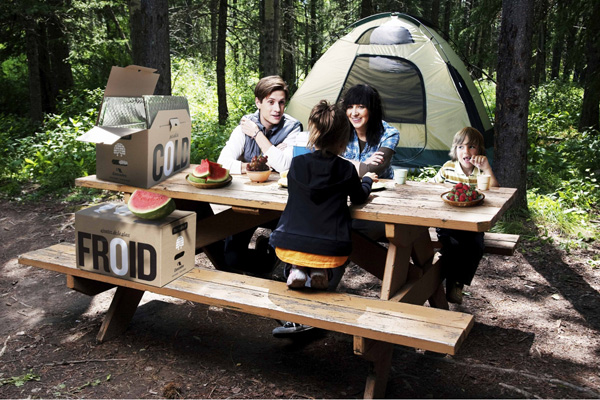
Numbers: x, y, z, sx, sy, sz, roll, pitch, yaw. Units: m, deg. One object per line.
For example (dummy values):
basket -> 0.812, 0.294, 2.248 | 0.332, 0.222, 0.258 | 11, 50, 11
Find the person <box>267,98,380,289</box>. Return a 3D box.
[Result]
person -> 0.170, -0.014, 3.580 | 0.655, 1.518, 0.654 | 2, 4, 16

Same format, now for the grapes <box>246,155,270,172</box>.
grapes -> -0.404, -0.348, 4.132 | 0.148, 0.109, 0.193 | -9, -1, -7

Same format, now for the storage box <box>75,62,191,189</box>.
storage box -> -1.407, -0.752, 4.262 | 1.297, 1.073, 1.375 | 5, 9, 18

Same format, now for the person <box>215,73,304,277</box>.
person -> -0.427, -0.210, 4.706 | 0.984, 2.135, 1.005 | 4, -2, -5

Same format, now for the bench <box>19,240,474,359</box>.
bench -> 0.049, 0.835, 3.365 | 2.416, 0.209, 0.381 | 7, 16, 16

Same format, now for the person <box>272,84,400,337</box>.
person -> 0.330, -0.039, 3.802 | 1.084, 2.671, 0.972 | 2, 4, 17

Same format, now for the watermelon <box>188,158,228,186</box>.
watermelon -> -0.856, -0.255, 4.071 | 0.324, 0.142, 0.417 | 0, 11, -11

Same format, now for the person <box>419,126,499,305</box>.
person -> 1.564, 0.112, 4.367 | 0.695, 1.585, 0.837 | 2, 4, 24

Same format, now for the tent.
tent -> 1.796, -2.198, 8.645 | 3.403, 1.874, 3.210 | 10, 17, 19

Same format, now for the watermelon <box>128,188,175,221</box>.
watermelon -> -1.241, 0.044, 3.561 | 0.362, 0.197, 0.197 | 9, 17, 22
